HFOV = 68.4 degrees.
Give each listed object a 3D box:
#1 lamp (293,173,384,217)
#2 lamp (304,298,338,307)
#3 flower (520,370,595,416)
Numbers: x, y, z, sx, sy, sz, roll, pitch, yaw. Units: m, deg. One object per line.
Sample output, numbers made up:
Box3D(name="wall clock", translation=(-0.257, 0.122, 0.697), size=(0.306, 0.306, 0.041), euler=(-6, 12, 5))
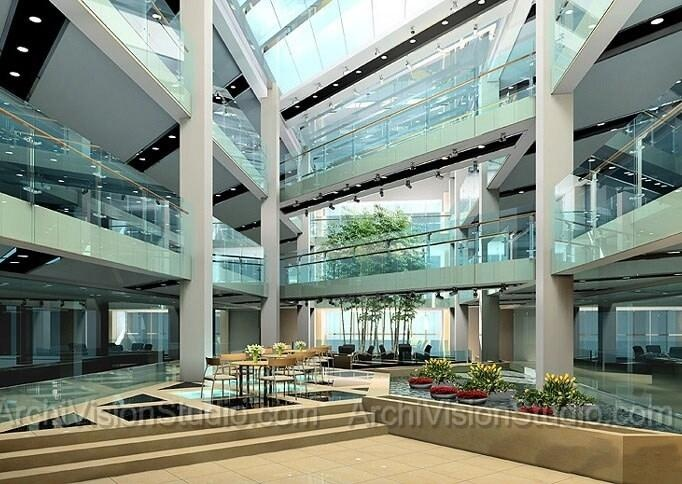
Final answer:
Box3D(name="lamp", translation=(-0.228, -1.737, 19.188), size=(5.126, 0.631, 0.195), euler=(-15, -22, 26))
Box3D(name="lamp", translation=(-0.953, 2.768, 22.823), size=(1.474, 0.285, 1.248), euler=(-3, -12, 13))
Box3D(name="flower", translation=(3.973, 2.920, 9.560), size=(1.721, 0.681, 1.136), euler=(10, -16, -38))
